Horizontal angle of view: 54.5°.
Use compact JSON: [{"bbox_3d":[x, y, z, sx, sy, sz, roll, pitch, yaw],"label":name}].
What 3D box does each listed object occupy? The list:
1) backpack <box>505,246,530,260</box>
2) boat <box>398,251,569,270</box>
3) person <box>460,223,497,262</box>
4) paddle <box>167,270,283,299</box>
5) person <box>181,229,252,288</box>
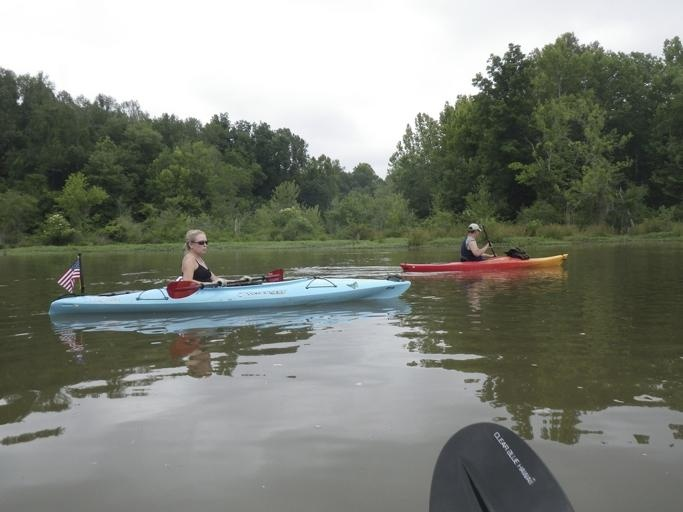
[{"bbox_3d":[5.390,-0.080,20.277,0.643,0.261,0.548,3,2,13],"label":"backpack"},{"bbox_3d":[4.708,0.145,21.593,3.459,0.463,0.688,-2,-3,-16],"label":"boat"},{"bbox_3d":[3.922,-0.407,19.353,0.805,1.263,1.748,2,12,14],"label":"person"},{"bbox_3d":[-2.568,0.628,14.693,2.044,0.353,0.297,-8,-12,-18],"label":"paddle"},{"bbox_3d":[-2.672,-0.016,14.407,1.651,1.221,0.863,2,15,-6],"label":"person"}]
